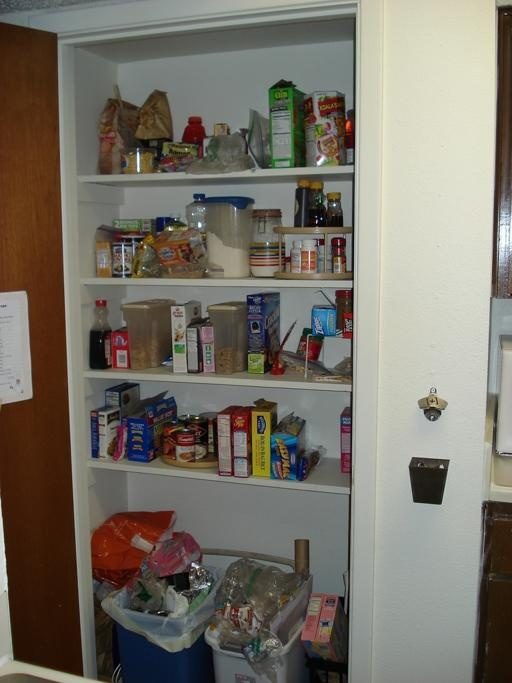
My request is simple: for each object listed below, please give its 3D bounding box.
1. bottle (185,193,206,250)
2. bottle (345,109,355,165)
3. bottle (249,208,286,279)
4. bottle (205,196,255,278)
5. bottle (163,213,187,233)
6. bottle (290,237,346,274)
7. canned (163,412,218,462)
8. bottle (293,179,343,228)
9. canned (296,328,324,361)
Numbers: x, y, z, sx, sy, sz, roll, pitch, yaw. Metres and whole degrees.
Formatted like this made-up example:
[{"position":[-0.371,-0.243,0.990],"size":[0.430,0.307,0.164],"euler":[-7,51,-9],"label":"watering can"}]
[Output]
[{"position":[-0.189,-0.377,1.847],"size":[0.075,0.184,0.071],"euler":[5,18,-2],"label":"bottle"},{"position":[0.254,-0.559,1.590],"size":[0.022,0.158,0.079],"euler":[0,7,12],"label":"bottle"},{"position":[0.027,-0.286,1.679],"size":[0.102,0.197,0.136],"euler":[-2,7,2],"label":"bottle"},{"position":[-0.079,-0.307,1.720],"size":[0.142,0.240,0.133],"euler":[-2,7,0],"label":"bottle"},{"position":[-0.254,-0.364,1.854],"size":[0.073,0.072,0.074],"euler":[1,1,-30],"label":"bottle"},{"position":[0.170,-0.238,1.603],"size":[0.152,0.111,0.089],"euler":[2,8,7],"label":"bottle"},{"position":[-0.217,0.317,1.889],"size":[0.182,0.125,0.105],"euler":[2,2,20],"label":"canned"},{"position":[0.174,-0.398,1.657],"size":[0.131,0.153,0.190],"euler":[-1,7,6],"label":"bottle"},{"position":[0.149,0.012,1.760],"size":[0.084,0.095,0.128],"euler":[1,8,26],"label":"canned"}]
